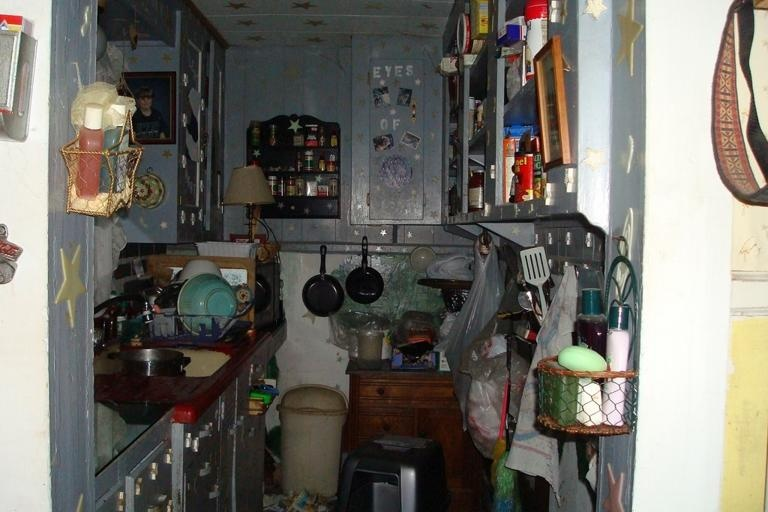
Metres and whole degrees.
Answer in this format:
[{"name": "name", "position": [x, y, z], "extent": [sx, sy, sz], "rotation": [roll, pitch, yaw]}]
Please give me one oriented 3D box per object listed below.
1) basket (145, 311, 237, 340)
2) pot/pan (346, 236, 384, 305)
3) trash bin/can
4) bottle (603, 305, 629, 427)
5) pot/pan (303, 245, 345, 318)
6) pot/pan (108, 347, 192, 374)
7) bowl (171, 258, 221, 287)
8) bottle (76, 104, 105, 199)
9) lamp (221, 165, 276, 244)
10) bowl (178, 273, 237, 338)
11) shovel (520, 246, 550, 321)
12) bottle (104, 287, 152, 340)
[{"name": "basket", "position": [-0.881, 0.313, 3.078], "extent": [0.253, 0.095, 0.171], "rotation": [0, 3, 0]}, {"name": "pot/pan", "position": [-0.125, 0.083, 4.280], "extent": [0.230, 0.419, 0.066], "rotation": [-1, 2, 8]}, {"name": "trash bin/can", "position": [-0.424, 1.068, 4.073], "extent": [0.531, 0.830, 0.491], "rotation": [1, -2, -6]}, {"name": "bottle", "position": [0.644, 0.293, 1.888], "extent": [0.072, 0.329, 0.115], "rotation": [1, 2, 20]}, {"name": "pot/pan", "position": [-0.386, 0.149, 4.294], "extent": [0.236, 0.444, 0.062], "rotation": [-1, 4, 7]}, {"name": "pot/pan", "position": [-0.884, 0.414, 2.630], "extent": [0.169, 0.066, 0.143], "rotation": [0, 7, -26]}, {"name": "bowl", "position": [-0.906, 0.068, 3.285], "extent": [0.146, 0.139, 0.124], "rotation": [-12, -35, -5]}, {"name": "bottle", "position": [-0.767, -0.272, 1.781], "extent": [0.065, 0.235, 0.044], "rotation": [-1, 2, -26]}, {"name": "lamp", "position": [-0.798, -0.313, 4.021], "extent": [0.276, 0.444, 0.462], "rotation": [0, 2, -11]}, {"name": "bowl", "position": [-0.806, 0.240, 3.104], "extent": [0.223, 0.287, 0.099], "rotation": [6, -11, -24]}, {"name": "shovel", "position": [0.594, 0.145, 2.610], "extent": [0.098, 0.354, 0.051], "rotation": [-9, -34, 4]}, {"name": "bottle", "position": [-1.070, 0.258, 3.012], "extent": [0.261, 0.247, 0.167], "rotation": [1, 1, -2]}]
